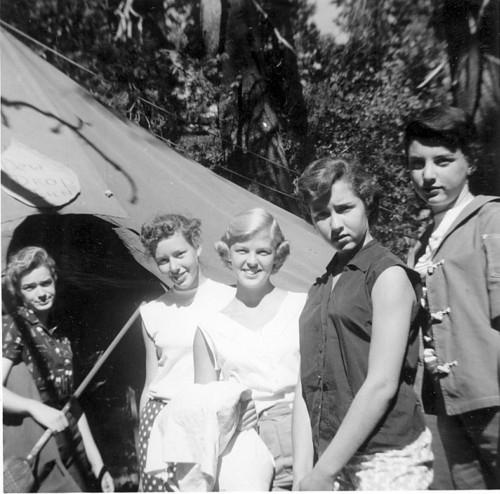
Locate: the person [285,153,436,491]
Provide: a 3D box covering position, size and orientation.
[{"bbox_3d":[0.539,0.451,3.430,0.708,1.596,0.627,5,14,2],"label":"person"}]

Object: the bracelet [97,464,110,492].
[{"bbox_3d":[-0.792,1.268,3.956,0.071,0.125,0.052,0,-6,-32],"label":"bracelet"}]
